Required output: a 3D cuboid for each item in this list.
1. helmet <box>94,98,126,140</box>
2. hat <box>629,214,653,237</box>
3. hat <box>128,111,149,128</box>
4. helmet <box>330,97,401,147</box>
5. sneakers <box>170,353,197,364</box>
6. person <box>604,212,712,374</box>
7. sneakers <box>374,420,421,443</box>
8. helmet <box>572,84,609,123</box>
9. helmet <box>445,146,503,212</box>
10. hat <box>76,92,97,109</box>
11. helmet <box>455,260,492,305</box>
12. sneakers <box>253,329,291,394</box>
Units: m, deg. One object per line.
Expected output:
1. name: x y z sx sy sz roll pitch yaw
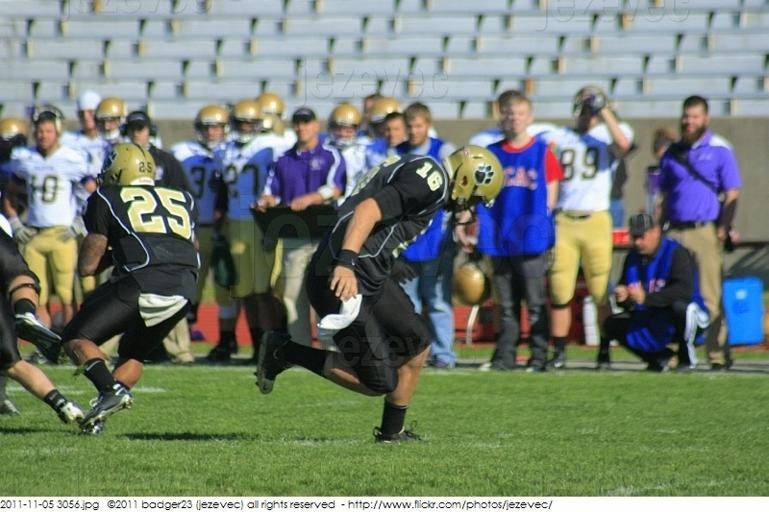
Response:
1. helmet: -2.796 -1.397 15.087 0.317 0.439 0.417 0 9 8
2. hat: 2.426 -0.298 13.891 0.242 0.200 0.161 2 0 12
3. hat: -2.414 -1.329 14.447 0.138 0.196 0.195 0 4 -5
4. helmet: -0.188 -1.326 14.513 0.681 0.314 0.417 -1 31 -1
5. sneakers: -1.968 1.014 14.492 0.252 0.113 0.089 13 -10 2
6. person: 2.590 0.331 13.999 0.975 1.412 0.979 -2 -3 -43
7. sneakers: 0.113 1.460 12.383 0.428 0.169 0.146 0 1 -13
8. helmet: 1.964 -1.460 14.051 0.340 0.344 0.284 2 -1 23
9. helmet: 0.746 -0.662 12.318 0.552 0.527 0.413 3 15 -14
10. hat: -3.133 -1.623 15.601 0.180 0.203 0.250 2 19 5
11. helmet: 0.841 0.266 14.177 0.391 0.406 0.395 -10 -24 27
12. sneakers: -0.951 0.879 12.590 0.291 0.612 0.206 8 2 7
